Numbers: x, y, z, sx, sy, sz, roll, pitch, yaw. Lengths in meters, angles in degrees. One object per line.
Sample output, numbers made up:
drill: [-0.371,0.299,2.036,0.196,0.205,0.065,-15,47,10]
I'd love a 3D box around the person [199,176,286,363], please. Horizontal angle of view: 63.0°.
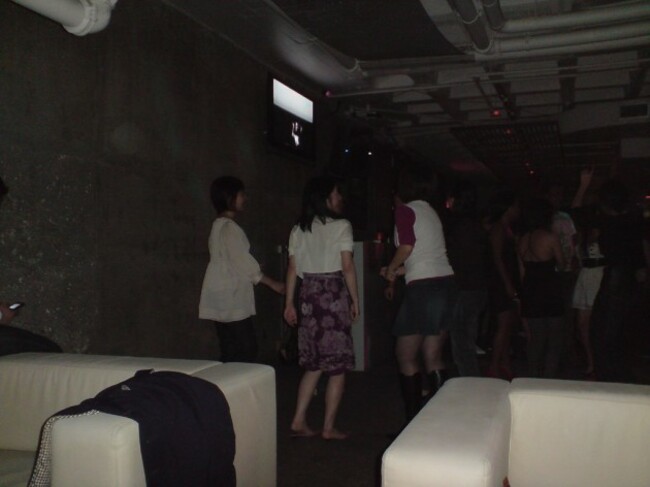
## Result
person: [-0.672,0.175,3.901,0.542,1.335,0.419,7,8,40]

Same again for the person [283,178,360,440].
person: [-0.032,0.449,3.694,0.547,1.822,0.347,3,6,16]

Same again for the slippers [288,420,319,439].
slippers: [-0.149,1.329,3.777,0.200,0.153,0.082,-1,-8,2]
